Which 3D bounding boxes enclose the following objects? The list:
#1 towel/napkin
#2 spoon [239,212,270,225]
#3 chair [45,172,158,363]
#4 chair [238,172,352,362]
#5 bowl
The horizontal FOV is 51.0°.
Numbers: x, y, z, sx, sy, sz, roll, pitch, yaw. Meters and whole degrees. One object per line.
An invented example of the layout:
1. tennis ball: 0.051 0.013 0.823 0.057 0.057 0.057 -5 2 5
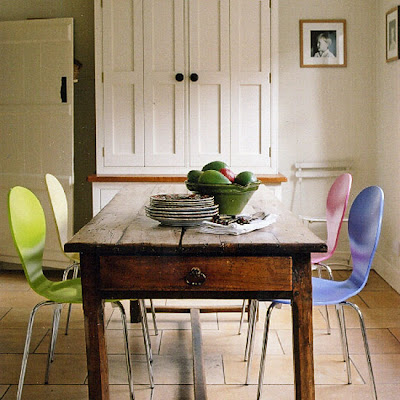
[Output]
1. towel/napkin: 0.135 0.058 1.320 0.223 0.045 0.256 8 9 15
2. spoon: 0.174 0.057 1.360 0.039 0.029 0.135 33 20 34
3. chair: -0.551 0.339 2.405 0.567 1.036 0.564 2 10 -4
4. chair: 0.504 0.287 2.278 0.591 1.002 0.522 0 3 2
5. bowl: 0.097 -0.014 1.538 0.157 0.066 0.156 0 -1 0
